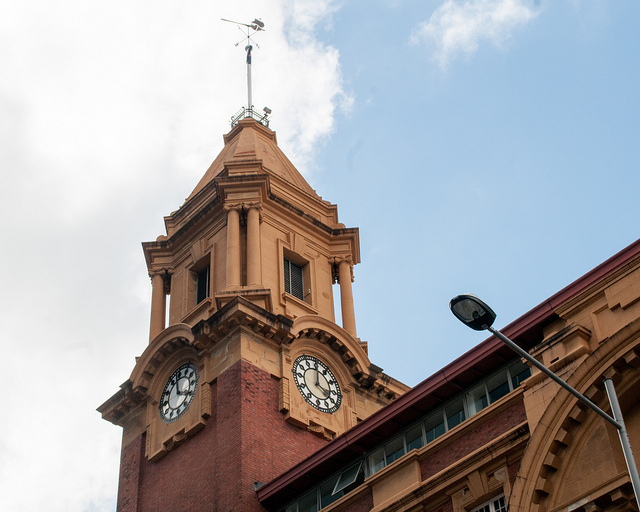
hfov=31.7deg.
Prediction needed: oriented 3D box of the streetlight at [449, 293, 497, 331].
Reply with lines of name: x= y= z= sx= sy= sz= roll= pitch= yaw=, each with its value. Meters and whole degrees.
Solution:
streetlight: x=3.614 y=1.356 z=25.777 sx=0.985 sy=0.774 sz=0.721 roll=24 pitch=-59 yaw=-20
